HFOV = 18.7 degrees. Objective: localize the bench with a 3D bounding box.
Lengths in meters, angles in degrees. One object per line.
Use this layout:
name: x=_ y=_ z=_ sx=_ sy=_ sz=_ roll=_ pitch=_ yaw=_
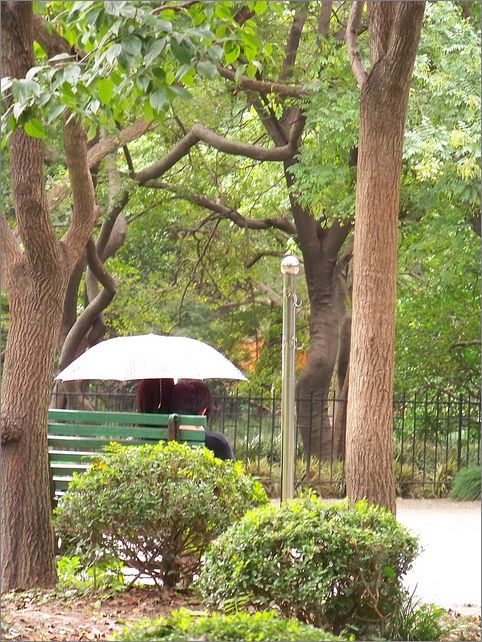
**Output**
bench: x=-1.009 y=1.041 z=12.201 sx=1.135 sy=0.804 sz=1.594 roll=4 pitch=-14 yaw=-16
